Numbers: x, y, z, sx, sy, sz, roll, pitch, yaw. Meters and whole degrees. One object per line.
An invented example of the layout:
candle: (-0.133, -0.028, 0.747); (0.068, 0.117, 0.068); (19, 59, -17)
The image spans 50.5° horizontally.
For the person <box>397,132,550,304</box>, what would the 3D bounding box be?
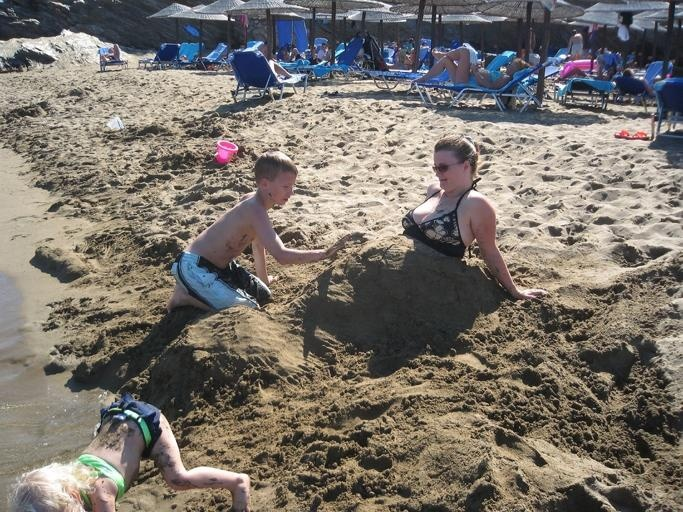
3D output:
person: (0.898, -0.410, 5.956); (0.628, 1.150, 1.796); (-5, 18, -29)

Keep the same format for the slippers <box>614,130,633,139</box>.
slippers: (3.774, -1.635, 9.694); (0.196, 0.085, 0.731); (7, 21, 20)

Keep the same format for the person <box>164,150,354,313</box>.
person: (-0.677, -0.297, 6.339); (1.522, 1.653, 1.091); (10, 22, -22)

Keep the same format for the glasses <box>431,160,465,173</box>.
glasses: (0.823, -0.712, 5.731); (0.128, 0.040, 0.124); (-18, 8, -26)

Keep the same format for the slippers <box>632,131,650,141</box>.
slippers: (3.995, -1.605, 9.668); (0.272, 0.092, 0.192); (-8, 17, -29)
